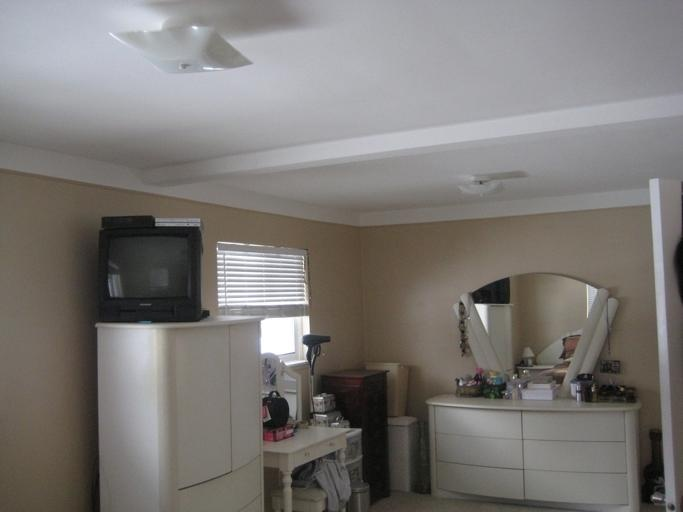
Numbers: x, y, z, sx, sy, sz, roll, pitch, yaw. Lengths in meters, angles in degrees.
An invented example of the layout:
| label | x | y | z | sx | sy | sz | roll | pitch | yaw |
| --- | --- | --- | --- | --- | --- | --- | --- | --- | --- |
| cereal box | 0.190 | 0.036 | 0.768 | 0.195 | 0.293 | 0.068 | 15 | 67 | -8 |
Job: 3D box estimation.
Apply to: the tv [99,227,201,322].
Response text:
| label | x | y | z | sx | sy | sz | roll | pitch | yaw |
| --- | --- | --- | --- | --- | --- | --- | --- | --- | --- |
| tv | -1.250 | 0.164 | 3.596 | 0.641 | 0.635 | 0.542 | 1 | -13 | -21 |

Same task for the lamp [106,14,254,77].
| label | x | y | z | sx | sy | sz | roll | pitch | yaw |
| --- | --- | --- | --- | --- | --- | --- | --- | --- | --- |
| lamp | -0.597 | -0.811 | 2.101 | 0.407 | 0.080 | 0.343 | -2 | -4 | 11 |

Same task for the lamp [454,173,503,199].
| label | x | y | z | sx | sy | sz | roll | pitch | yaw |
| --- | --- | --- | --- | --- | --- | --- | --- | --- | --- |
| lamp | 1.164 | -0.595 | 4.590 | 0.349 | 0.106 | 0.317 | -1 | -4 | 6 |

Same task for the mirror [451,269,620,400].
| label | x | y | z | sx | sy | sz | roll | pitch | yaw |
| --- | --- | --- | --- | --- | --- | --- | --- | --- | --- |
| mirror | 2.014 | 0.801 | 5.497 | 1.231 | 1.268 | 0.132 | 0 | -4 | 31 |

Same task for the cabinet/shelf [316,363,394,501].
| label | x | y | z | sx | sy | sz | roll | pitch | yaw |
| --- | --- | --- | --- | --- | --- | --- | --- | --- | --- |
| cabinet/shelf | 0.180 | 1.751 | 5.532 | 0.380 | 1.091 | 0.519 | -5 | -7 | 36 |

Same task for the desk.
| label | x | y | z | sx | sy | sz | roll | pitch | yaw |
| --- | --- | --- | --- | --- | --- | --- | --- | --- | --- |
| desk | -0.321 | 1.652 | 4.338 | 0.359 | 0.469 | 0.800 | -3 | -5 | 33 |

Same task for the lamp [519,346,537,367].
| label | x | y | z | sx | sy | sz | roll | pitch | yaw |
| --- | --- | --- | --- | --- | --- | --- | --- | --- | --- |
| lamp | 1.894 | 1.020 | 5.562 | 0.162 | 0.260 | 0.168 | -1 | -2 | -14 |
